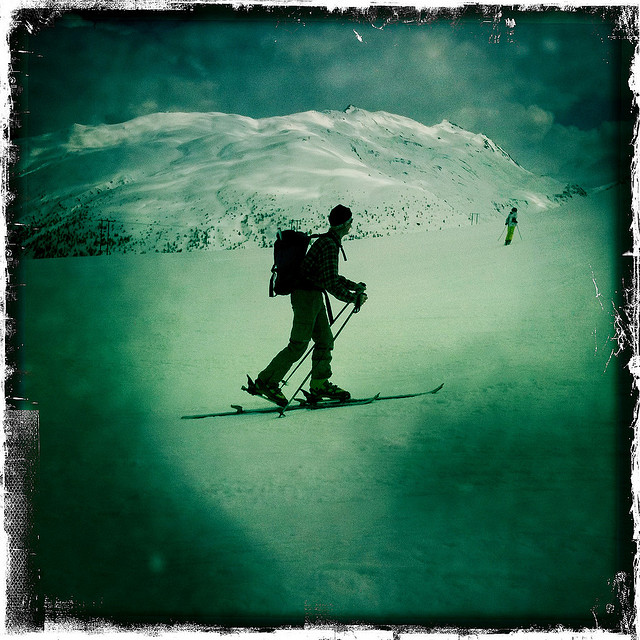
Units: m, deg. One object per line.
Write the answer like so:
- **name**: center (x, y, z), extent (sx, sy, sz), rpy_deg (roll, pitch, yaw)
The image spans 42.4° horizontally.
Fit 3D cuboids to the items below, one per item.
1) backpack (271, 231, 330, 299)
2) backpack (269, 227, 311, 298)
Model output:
- **backpack**: center (-0.147, -0.582, 8.497), extent (0.659, 0.658, 0.434), rpy_deg (-17, -15, 36)
- **backpack**: center (-0.301, -0.512, 8.603), extent (0.393, 0.521, 0.703), rpy_deg (-6, 67, 6)
